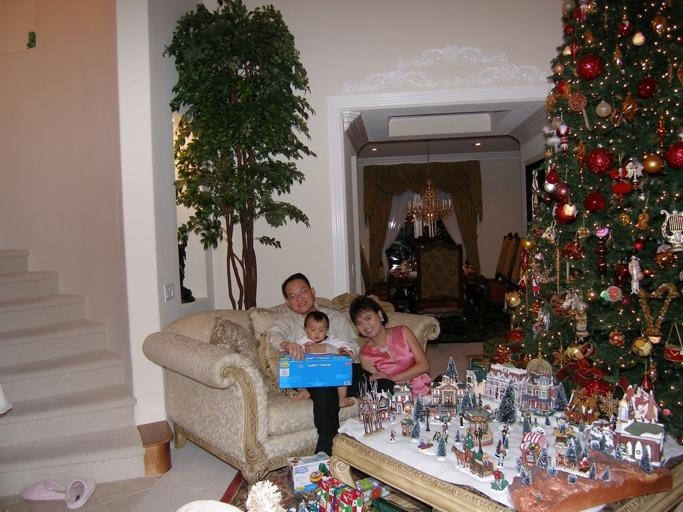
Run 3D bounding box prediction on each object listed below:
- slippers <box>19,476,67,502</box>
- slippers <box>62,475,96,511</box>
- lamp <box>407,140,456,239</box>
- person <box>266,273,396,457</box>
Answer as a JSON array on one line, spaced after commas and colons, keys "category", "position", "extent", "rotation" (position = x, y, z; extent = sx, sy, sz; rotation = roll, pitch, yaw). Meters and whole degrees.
[{"category": "slippers", "position": [-1.874, 1.487, 3.136], "extent": [0.316, 0.124, 0.125], "rotation": [7, 10, -11]}, {"category": "slippers", "position": [-1.648, 1.492, 3.089], "extent": [0.102, 0.061, 0.167], "rotation": [-1, 43, -1]}, {"category": "lamp", "position": [1.717, -1.163, 9.442], "extent": [0.806, 1.625, 1.545], "rotation": [-1, 3, 13]}, {"category": "person", "position": [-0.113, 0.726, 3.295], "extent": [0.618, 1.271, 0.980], "rotation": [-4, -2, -29]}]
